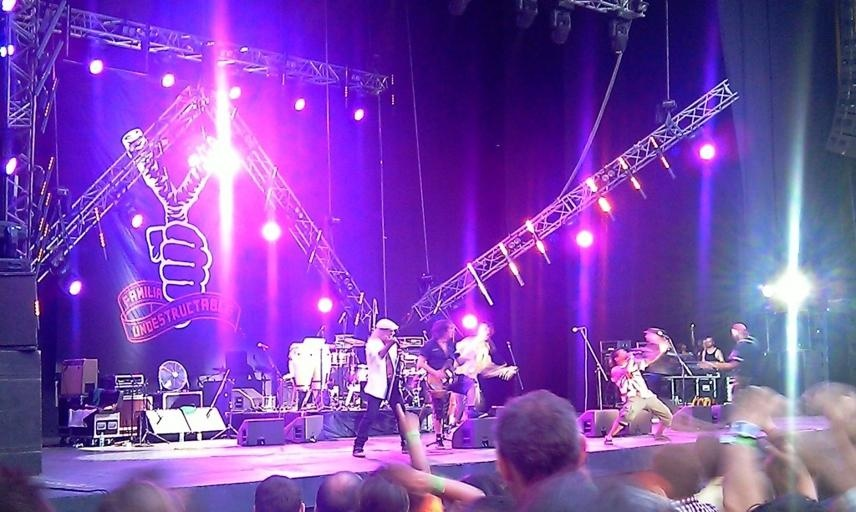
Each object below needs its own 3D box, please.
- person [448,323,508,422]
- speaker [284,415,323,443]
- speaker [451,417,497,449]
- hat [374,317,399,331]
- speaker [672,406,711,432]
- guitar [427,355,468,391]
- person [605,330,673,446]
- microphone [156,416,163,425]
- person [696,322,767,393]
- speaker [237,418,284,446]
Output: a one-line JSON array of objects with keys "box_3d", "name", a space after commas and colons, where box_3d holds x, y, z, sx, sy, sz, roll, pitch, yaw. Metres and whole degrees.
[{"box_3d": [0.844, 2.226, 13.725, 0.876, 1.352, 0.506, 6, -51, 15], "name": "person"}, {"box_3d": [-2.260, 3.005, 13.878, 0.454, 0.445, 0.672, 0, -3, 35], "name": "speaker"}, {"box_3d": [0.673, 2.970, 13.194, 0.553, 0.498, 0.782, -2, 1, 4], "name": "speaker"}, {"box_3d": [-0.669, 1.122, 12.382, 0.395, 0.129, 0.395, 3, -8, 3], "name": "hat"}, {"box_3d": [5.165, 3.225, 14.914, 0.596, 0.369, 0.580, 0, -2, -19], "name": "speaker"}, {"box_3d": [0.294, 1.988, 12.862, 0.317, 0.760, 0.109, 32, -36, 7], "name": "guitar"}, {"box_3d": [3.776, 2.367, 13.654, 1.170, 2.035, 0.878, -14, 13, -26], "name": "person"}, {"box_3d": [-5.093, 3.079, 14.345, 0.039, 0.169, 0.018, 28, -39, -19], "name": "microphone"}, {"box_3d": [5.948, 2.003, 14.816, 1.301, 1.873, 0.732, 6, -5, -41], "name": "person"}, {"box_3d": [-3.004, 3.026, 13.600, 0.597, 0.364, 0.557, 2, -2, -19], "name": "speaker"}]
